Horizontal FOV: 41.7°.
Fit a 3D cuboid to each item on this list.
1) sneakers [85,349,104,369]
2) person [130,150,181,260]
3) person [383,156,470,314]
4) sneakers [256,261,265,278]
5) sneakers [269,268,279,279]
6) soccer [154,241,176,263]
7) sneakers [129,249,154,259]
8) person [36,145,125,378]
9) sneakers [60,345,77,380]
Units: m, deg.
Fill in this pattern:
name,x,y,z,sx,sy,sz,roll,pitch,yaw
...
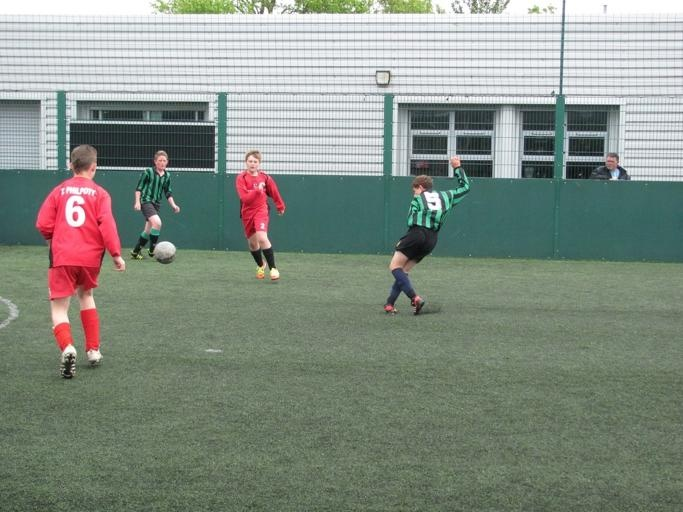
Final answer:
name,x,y,z,sx,sy,sz,roll,pitch,yaw
sneakers,-2.196,0.914,7.951,0.115,0.146,0.156,-2,-33,-10
person,-3.026,-0.817,14.481,0.739,1.759,0.761,-3,10,-25
person,0.962,-0.250,10.578,0.845,1.786,1.522,4,10,20
sneakers,-1.153,0.167,12.752,0.085,0.273,0.110,-1,-26,13
sneakers,-0.939,0.241,12.453,0.121,0.151,0.310,-2,-3,-6
soccer,-2.541,-0.046,12.814,0.276,0.316,0.357,-1,10,-12
sneakers,-3.312,-0.042,14.825,0.311,0.195,0.116,-3,7,1
person,-2.294,0.014,7.849,0.581,1.918,0.654,-6,11,-37
sneakers,-2.326,0.891,7.621,0.102,0.326,0.149,3,-3,-21
